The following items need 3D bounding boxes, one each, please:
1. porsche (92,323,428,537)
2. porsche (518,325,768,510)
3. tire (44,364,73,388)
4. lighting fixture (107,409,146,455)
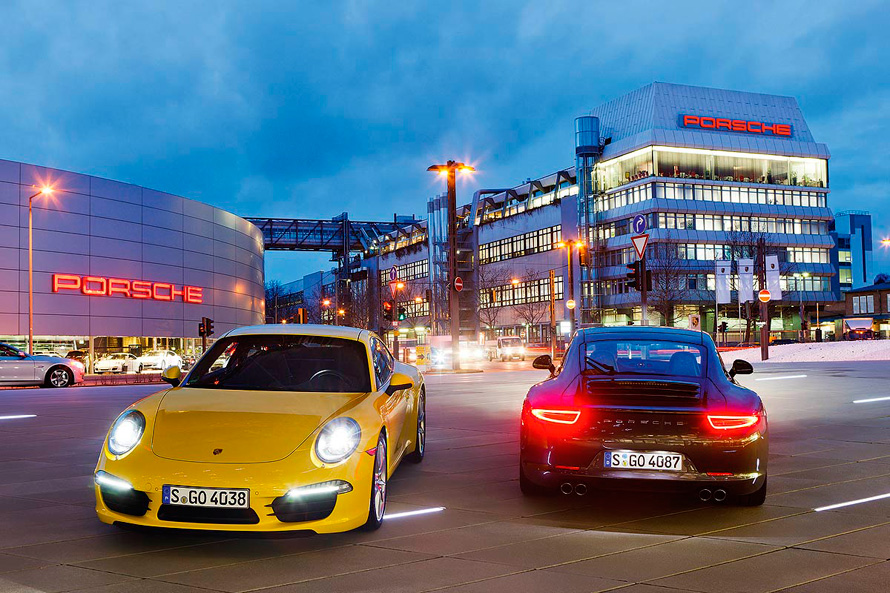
[{"bbox_3d":[-1.807,1.316,7.293,2.456,2.209,2.819,-4,-5,13],"label":"porsche"},{"bbox_3d":[2.114,1.119,7.108,1.599,1.000,2.973,-1,-8,10],"label":"porsche"},{"bbox_3d":[-15.684,3.125,27.296,0.872,0.889,0.281,-12,9,-40],"label":"tire"},{"bbox_3d":[-3.025,1.267,6.456,0.365,0.371,0.086,-5,-28,5],"label":"lighting fixture"}]
